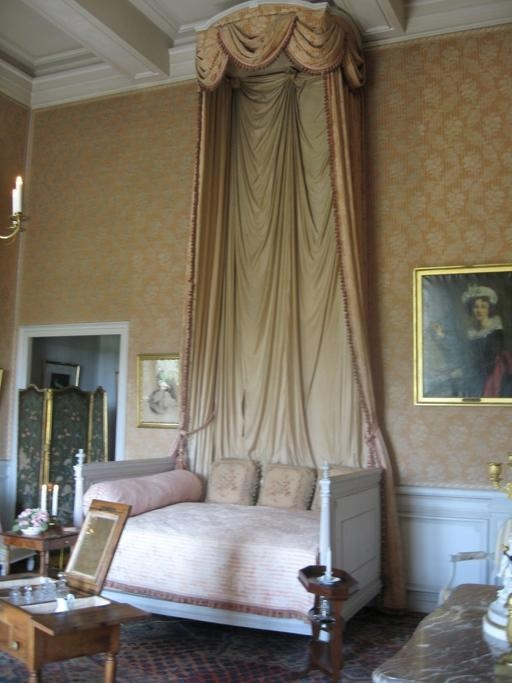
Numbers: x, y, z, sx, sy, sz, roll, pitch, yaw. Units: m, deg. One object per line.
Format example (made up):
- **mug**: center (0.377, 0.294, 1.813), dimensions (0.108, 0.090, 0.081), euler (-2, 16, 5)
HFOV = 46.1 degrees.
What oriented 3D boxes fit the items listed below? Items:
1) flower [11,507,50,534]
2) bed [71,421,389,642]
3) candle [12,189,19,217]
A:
- **flower**: center (-1.679, 1.328, 4.492), dimensions (0.199, 0.125, 0.191), euler (7, -9, -31)
- **bed**: center (-0.153, 1.367, 4.218), dimensions (1.657, 0.962, 1.645), euler (0, -4, 24)
- **candle**: center (-1.205, -0.705, 3.035), dimensions (0.040, 0.137, 0.077), euler (6, -12, -24)
